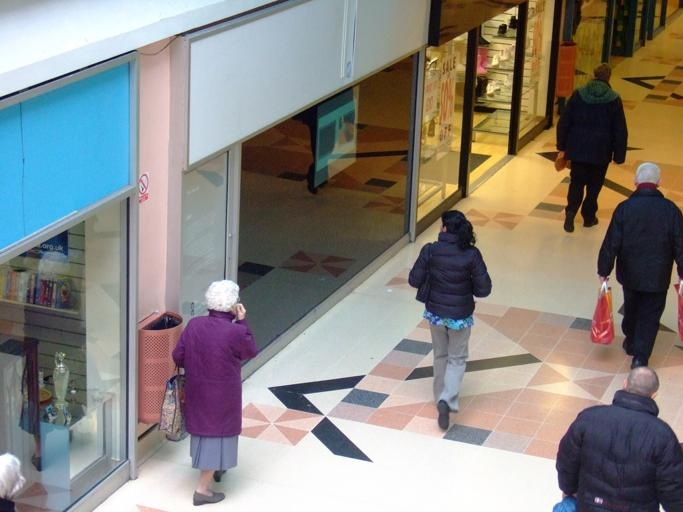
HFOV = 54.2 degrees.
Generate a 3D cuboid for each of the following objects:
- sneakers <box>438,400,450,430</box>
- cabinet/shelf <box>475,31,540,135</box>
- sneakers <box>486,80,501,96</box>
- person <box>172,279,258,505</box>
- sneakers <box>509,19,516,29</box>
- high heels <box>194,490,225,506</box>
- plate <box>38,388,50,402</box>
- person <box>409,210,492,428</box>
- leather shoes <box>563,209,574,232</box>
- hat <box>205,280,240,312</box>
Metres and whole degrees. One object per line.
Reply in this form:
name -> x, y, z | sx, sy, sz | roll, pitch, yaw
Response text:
sneakers -> 0.963, 1.481, 6.216 | 0.117, 0.273, 0.111 | 0, 1, 11
cabinet/shelf -> 3.194, -3.407, 13.005 | 0.578, 1.858, 1.693 | 11, 32, 24
sneakers -> 2.874, -3.185, 12.676 | 0.161, 0.195, 0.493 | 3, 20, 16
person -> -0.971, 1.058, 5.199 | 0.630, 1.793, 0.332 | -3, 11, -7
sneakers -> 3.281, -4.428, 12.772 | 0.103, 0.138, 0.326 | 1, -7, 7
high heels -> -1.056, 1.893, 5.319 | 0.218, 0.092, 0.109 | -5, 11, -16
plate -> -2.167, 1.016, 4.869 | 0.021, 0.090, 0.090 | -2, 6, 31
person -> 0.992, 0.624, 6.142 | 0.711, 2.049, 0.259 | 0, 11, 5
leather shoes -> 3.648, -0.560, 10.694 | 0.150, 0.330, 0.135 | 4, -8, 21
hat -> -0.895, 0.297, 5.018 | 0.220, 0.235, 0.189 | -1, 11, 0
